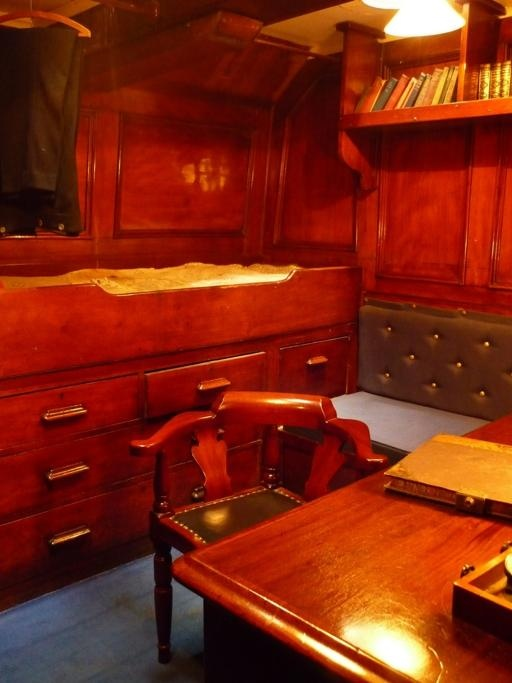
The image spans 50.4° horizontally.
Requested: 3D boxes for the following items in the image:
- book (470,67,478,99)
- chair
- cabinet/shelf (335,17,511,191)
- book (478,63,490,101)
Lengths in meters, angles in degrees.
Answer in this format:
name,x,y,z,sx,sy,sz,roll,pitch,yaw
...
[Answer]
name,x,y,z,sx,sy,sz,roll,pitch,yaw
book,0.905,-1.063,2.249,0.012,0.118,0.042,-7,7,-25
chair,-0.068,0.641,1.886,0.699,0.928,0.857,-10,-17,-8
cabinet/shelf,0.794,-1.120,2.521,0.295,0.742,0.821,-9,18,-44
book,0.931,-1.058,2.217,0.050,0.135,0.022,-2,6,22
